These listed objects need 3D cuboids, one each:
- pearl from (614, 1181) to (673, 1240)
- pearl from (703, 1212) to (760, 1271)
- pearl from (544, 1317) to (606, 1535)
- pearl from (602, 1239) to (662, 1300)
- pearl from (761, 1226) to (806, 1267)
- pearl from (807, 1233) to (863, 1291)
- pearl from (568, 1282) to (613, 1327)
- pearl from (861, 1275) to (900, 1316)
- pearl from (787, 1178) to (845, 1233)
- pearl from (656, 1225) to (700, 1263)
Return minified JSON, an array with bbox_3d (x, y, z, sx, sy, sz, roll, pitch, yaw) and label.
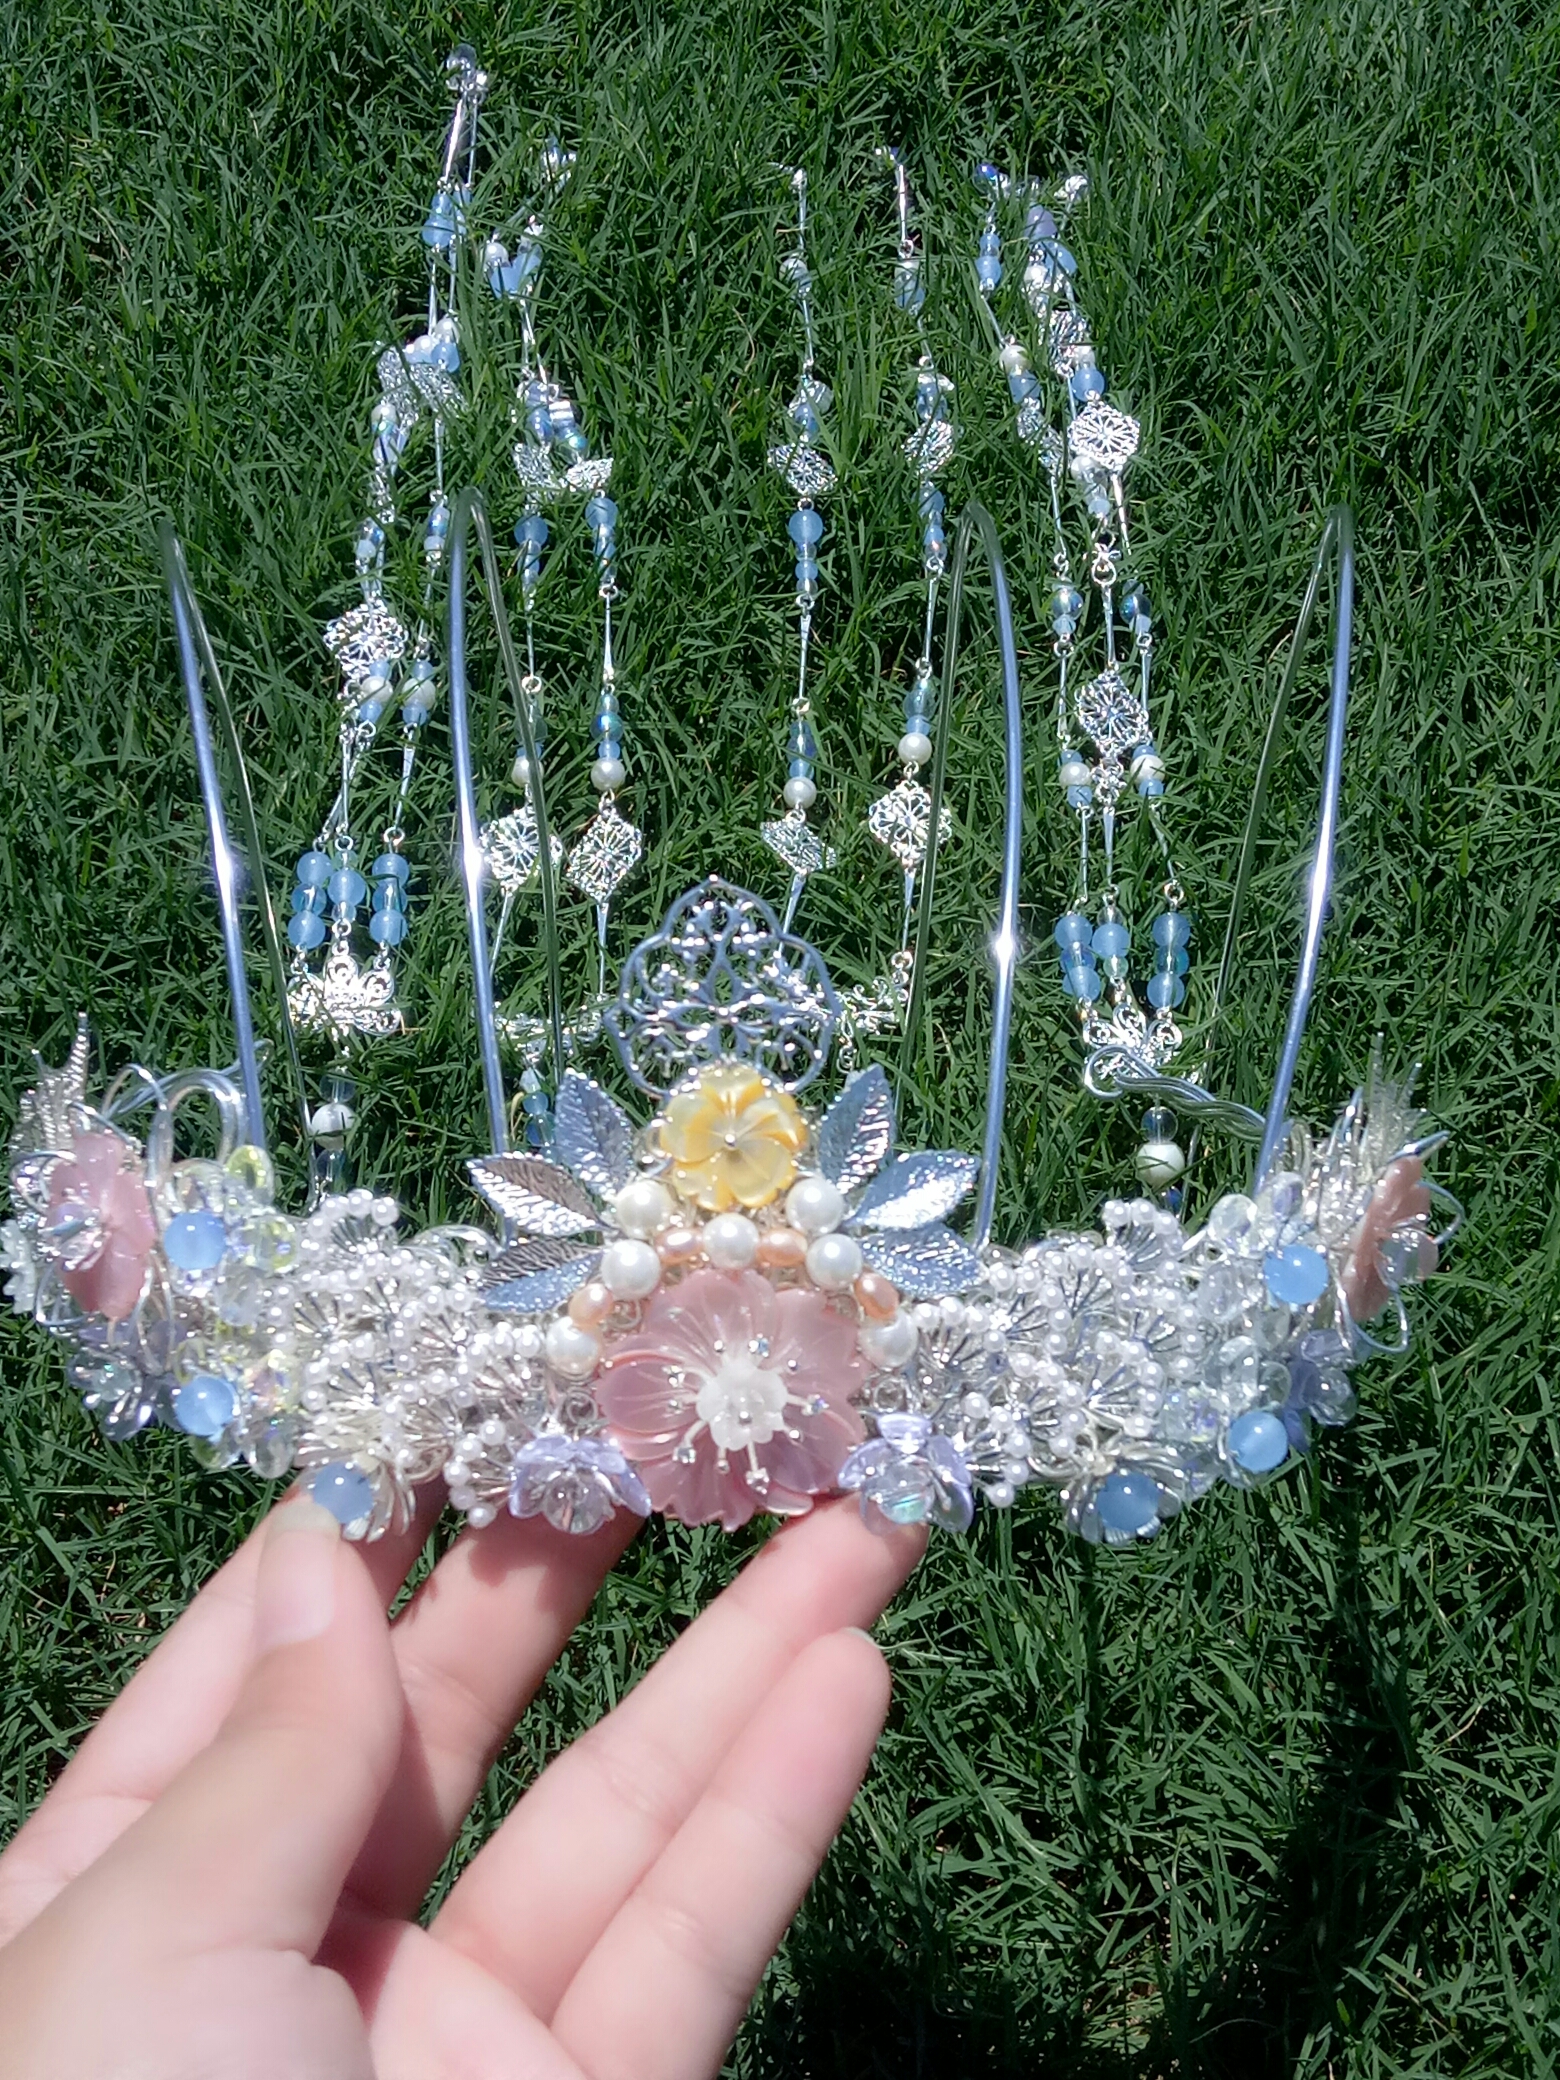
[{"bbox_3d":[-0.076,0.094,1.165,0.031,0.036,0.030,9,58,4],"label":"pearl"},{"bbox_3d":[-0.032,0.111,1.150,0.030,0.016,0.029,-10,84,-2],"label":"pearl"},{"bbox_3d":[-0.114,0.213,1.152,0.038,0.031,0.109,-1,83,-7],"label":"pearl"},{"bbox_3d":[-0.083,0.127,1.159,0.032,0.031,0.024,0,39,-1],"label":"pearl"},{"bbox_3d":[0.002,0.113,1.161,0.019,0.013,0.022,-15,86,-2],"label":"pearl"},{"bbox_3d":[0.029,0.124,1.159,0.031,0.028,0.022,12,40,13],"label":"pearl"},{"bbox_3d":[-0.104,0.146,1.157,0.021,0.015,0.026,21,89,-12],"label":"pearl"},{"bbox_3d":[0.052,0.141,1.154,0.019,0.013,0.024,-15,76,-16],"label":"pearl"},{"bbox_3d":[0.018,0.092,1.162,0.030,0.033,0.029,-2,8,-6],"label":"pearl"},{"bbox_3d":[-0.057,0.114,1.165,0.019,0.009,0.019,-16,80,-3],"label":"pearl"}]
